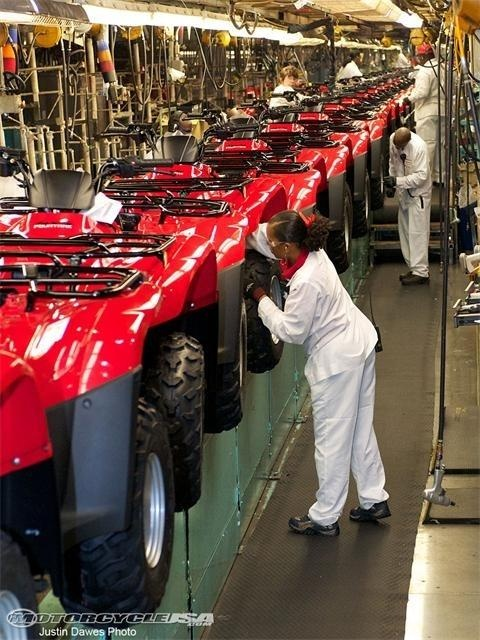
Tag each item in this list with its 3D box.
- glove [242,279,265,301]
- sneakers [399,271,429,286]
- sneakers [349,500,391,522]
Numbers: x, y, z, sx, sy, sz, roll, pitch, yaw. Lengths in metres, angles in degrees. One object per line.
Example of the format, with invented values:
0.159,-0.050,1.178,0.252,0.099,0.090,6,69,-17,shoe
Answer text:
0.065,-0.175,3.313,0.054,0.148,0.151,-44,15,31,glove
3.306,-0.772,9.397,0.455,0.213,0.250,5,15,-1,sneakers
1.011,1.498,3.829,0.286,0.202,0.106,3,43,17,sneakers
